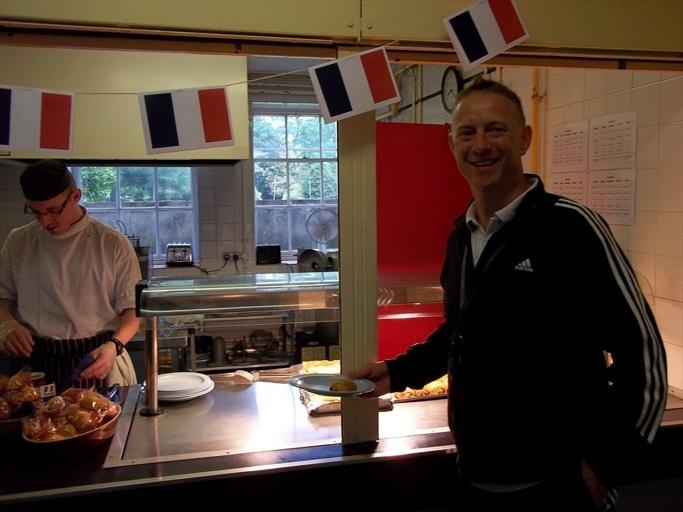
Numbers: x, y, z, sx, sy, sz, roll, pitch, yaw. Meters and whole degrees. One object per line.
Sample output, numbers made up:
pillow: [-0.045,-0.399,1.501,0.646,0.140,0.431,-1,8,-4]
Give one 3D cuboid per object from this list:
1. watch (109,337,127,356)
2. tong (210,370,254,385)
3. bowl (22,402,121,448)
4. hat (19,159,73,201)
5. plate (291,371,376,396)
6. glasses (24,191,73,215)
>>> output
watch: [-0.968,0.371,2.470,0.073,0.088,0.047,-15,-30,-31]
tong: [-0.470,0.533,2.545,0.255,0.060,0.064,-2,0,7]
bowl: [-0.880,0.555,1.871,0.298,0.096,0.126,-6,16,-24]
hat: [-1.248,-0.321,2.431,0.197,0.160,0.178,-5,16,-22]
plate: [-0.017,0.416,1.873,0.207,0.025,0.208,0,-1,42]
glasses: [-1.237,-0.213,2.469,0.143,0.036,0.137,-3,30,7]
